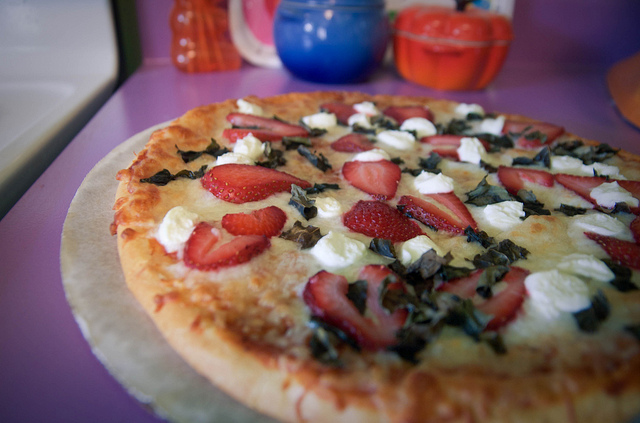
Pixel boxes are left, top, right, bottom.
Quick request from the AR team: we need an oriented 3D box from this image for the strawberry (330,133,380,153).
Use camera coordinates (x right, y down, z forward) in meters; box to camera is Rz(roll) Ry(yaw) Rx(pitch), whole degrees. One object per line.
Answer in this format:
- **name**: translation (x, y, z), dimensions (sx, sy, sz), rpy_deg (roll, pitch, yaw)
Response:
- **strawberry**: translation (0.126, -0.257, 1.907), dimensions (0.120, 0.029, 0.095), rpy_deg (-15, 27, -31)
